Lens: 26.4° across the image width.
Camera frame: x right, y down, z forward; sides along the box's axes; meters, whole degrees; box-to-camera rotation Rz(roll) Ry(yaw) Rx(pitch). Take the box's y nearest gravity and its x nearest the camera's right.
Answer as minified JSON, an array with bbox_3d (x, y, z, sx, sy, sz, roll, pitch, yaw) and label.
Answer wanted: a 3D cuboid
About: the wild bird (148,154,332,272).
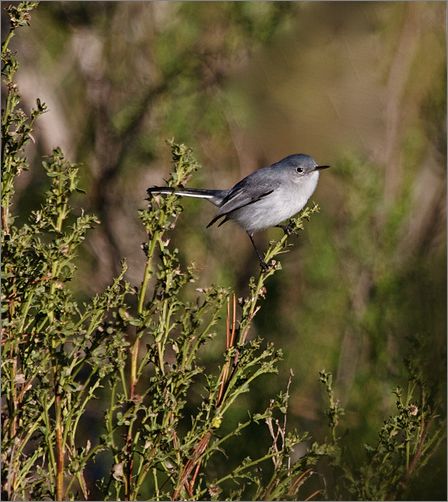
[{"bbox_3d":[0.095,-0.311,6.026,1.056,0.735,0.495,6,15,6],"label":"wild bird"}]
